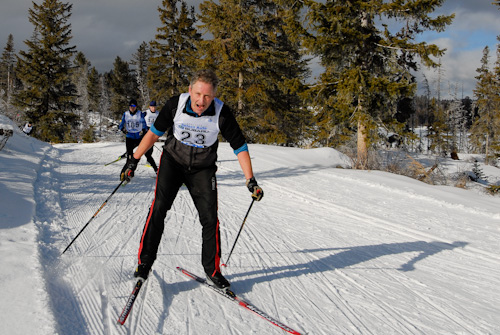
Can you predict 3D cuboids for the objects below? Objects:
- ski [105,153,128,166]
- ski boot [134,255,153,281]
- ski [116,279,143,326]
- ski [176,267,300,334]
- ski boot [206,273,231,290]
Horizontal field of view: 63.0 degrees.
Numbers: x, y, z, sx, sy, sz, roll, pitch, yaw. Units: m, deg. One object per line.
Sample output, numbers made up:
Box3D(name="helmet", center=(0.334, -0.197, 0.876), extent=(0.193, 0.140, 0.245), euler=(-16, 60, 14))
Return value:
Box3D(name="ski", center=(-5.253, -0.297, 16.017), extent=(1.090, 0.132, 0.147), euler=(-32, 26, -23))
Box3D(name="ski boot", center=(-2.230, 2.102, 8.729), extent=(0.251, 0.637, 0.267), euler=(22, -2, -8))
Box3D(name="ski", center=(-2.438, 2.745, 8.407), extent=(0.210, 1.076, 0.047), euler=(30, -36, -6))
Box3D(name="ski", center=(-0.322, 2.880, 8.691), extent=(2.346, 0.200, 0.217), euler=(27, 28, 17))
Box3D(name="ski boot", center=(-0.653, 2.447, 8.840), extent=(0.612, 0.307, 0.253), euler=(4, 3, 35))
